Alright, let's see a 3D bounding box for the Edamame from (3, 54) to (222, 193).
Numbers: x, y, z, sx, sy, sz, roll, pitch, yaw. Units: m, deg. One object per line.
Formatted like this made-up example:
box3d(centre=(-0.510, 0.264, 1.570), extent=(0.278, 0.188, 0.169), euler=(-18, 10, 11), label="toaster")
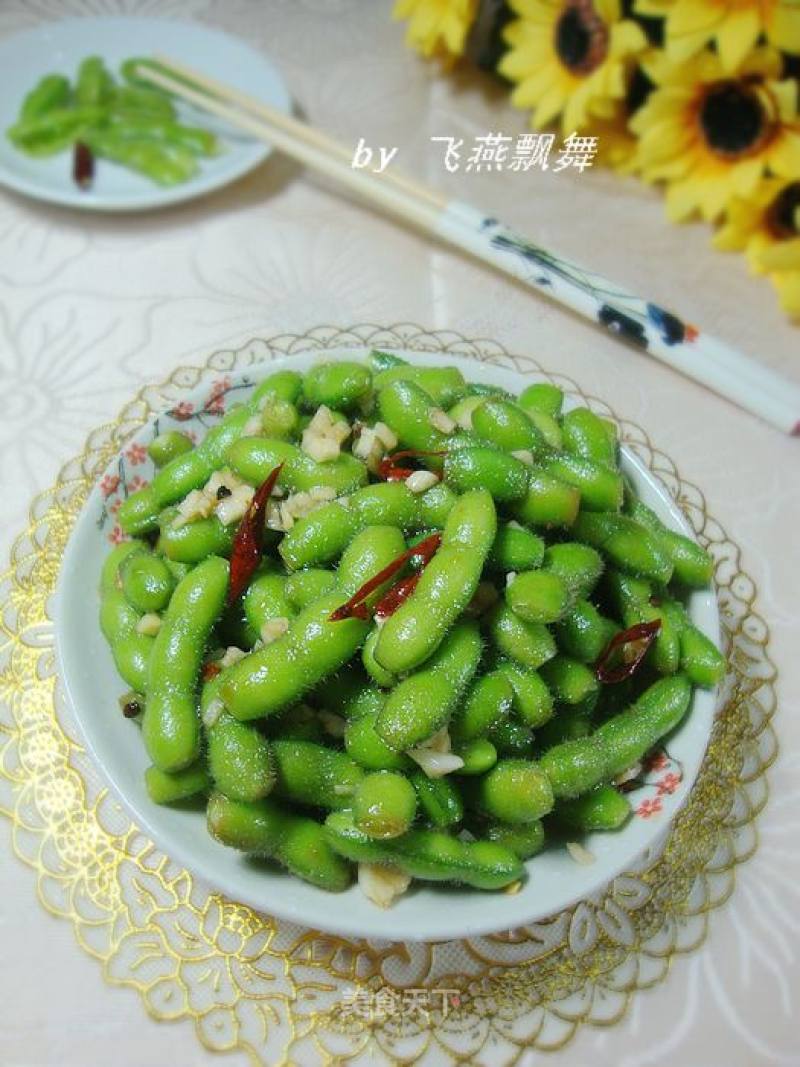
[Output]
box3d(centre=(-0.411, -0.583, 1.577), extent=(0.291, 0.065, 0.163), euler=(6, 82, -4), label="Edamame")
